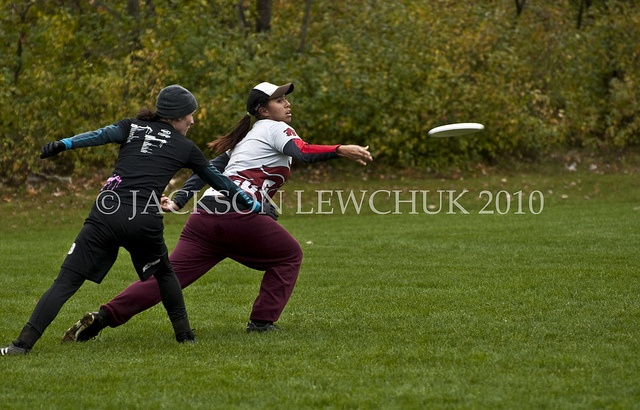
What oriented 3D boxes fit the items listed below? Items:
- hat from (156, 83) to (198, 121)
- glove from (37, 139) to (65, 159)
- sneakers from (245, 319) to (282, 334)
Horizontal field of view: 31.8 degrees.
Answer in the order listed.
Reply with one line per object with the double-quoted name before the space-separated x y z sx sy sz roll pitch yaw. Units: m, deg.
"hat" -2.228 -1.611 17.406 0.562 0.426 0.567 12 16 35
"glove" -4.081 -0.852 17.155 0.371 0.274 0.277 -4 13 -14
"sneakers" -0.900 1.920 17.788 0.578 0.225 0.187 0 0 -7
